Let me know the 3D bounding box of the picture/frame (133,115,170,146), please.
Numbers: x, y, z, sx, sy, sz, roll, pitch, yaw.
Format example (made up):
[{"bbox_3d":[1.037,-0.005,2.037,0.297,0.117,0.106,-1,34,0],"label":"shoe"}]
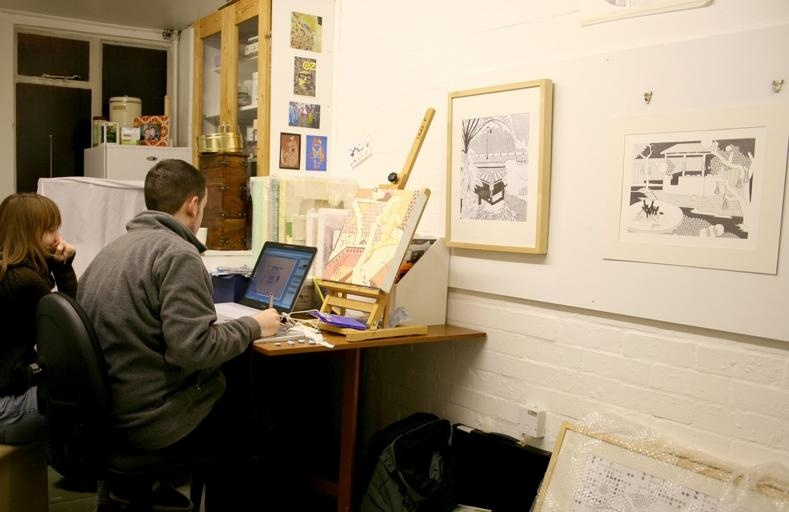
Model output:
[{"bbox_3d":[-2.345,-1.197,5.286,0.319,0.289,0.042,3,0,11],"label":"picture/frame"}]
